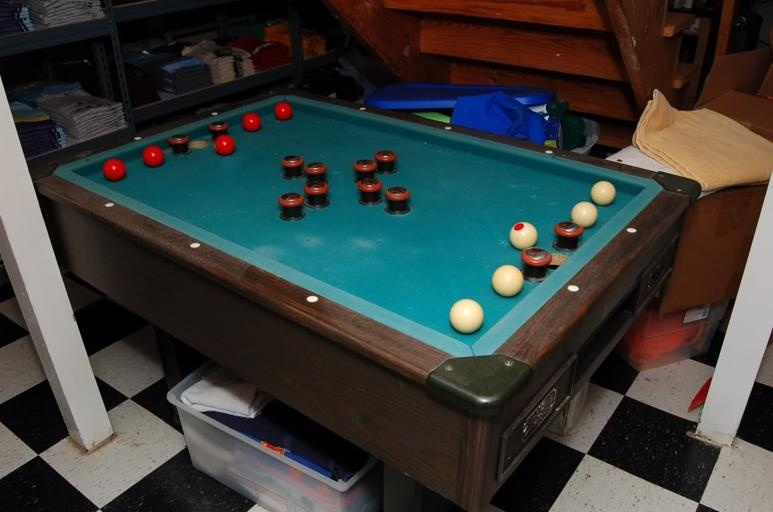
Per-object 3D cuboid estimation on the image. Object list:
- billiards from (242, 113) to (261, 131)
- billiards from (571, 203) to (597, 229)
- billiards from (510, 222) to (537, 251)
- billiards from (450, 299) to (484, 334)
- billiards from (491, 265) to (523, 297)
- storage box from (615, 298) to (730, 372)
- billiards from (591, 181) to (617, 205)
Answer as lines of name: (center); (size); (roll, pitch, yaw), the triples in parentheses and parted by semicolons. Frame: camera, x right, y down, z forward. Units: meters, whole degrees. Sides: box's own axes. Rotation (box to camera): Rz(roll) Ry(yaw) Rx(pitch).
billiards: (-0.592, -0.589, 2.400); (0.090, 0.084, 0.083); (-1, 7, 0)
billiards: (0.648, -0.134, 1.843); (0.091, 0.101, 0.088); (-8, 5, -8)
billiards: (0.422, -0.061, 1.741); (0.087, 0.084, 0.088); (-6, -6, -40)
billiards: (0.218, 0.157, 1.441); (0.101, 0.079, 0.084); (-2, 42, -1)
billiards: (0.349, 0.066, 1.556); (0.097, 0.068, 0.085); (1, 42, 3)
storage box: (1.242, 0.340, 2.495); (0.442, 0.284, 0.285); (-13, 37, -16)
billiards: (0.747, -0.218, 1.945); (0.087, 0.093, 0.084); (-7, 1, -6)
